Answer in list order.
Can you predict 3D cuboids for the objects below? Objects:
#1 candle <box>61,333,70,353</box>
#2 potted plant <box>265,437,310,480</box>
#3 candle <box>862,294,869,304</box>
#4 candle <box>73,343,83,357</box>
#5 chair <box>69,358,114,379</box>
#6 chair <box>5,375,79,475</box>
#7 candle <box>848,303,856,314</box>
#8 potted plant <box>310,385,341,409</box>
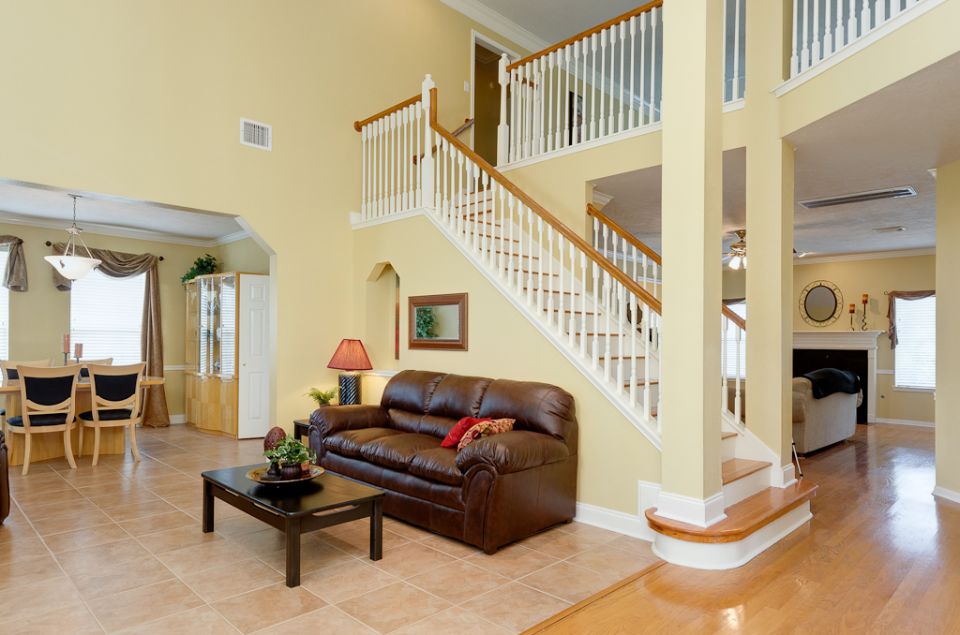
[{"bbox_3d":[-5.418,0.357,8.578,0.059,0.225,0.137,-9,15,-39],"label":"candle"},{"bbox_3d":[-1.746,1.299,6.013,0.356,0.258,0.364,1,-8,2],"label":"potted plant"},{"bbox_3d":[7.154,-0.342,12.121,0.137,0.154,0.138,-1,-3,-4],"label":"candle"},{"bbox_3d":[-5.358,0.454,8.744,0.075,0.202,0.133,-10,15,-41],"label":"candle"},{"bbox_3d":[-5.101,0.689,8.591,0.279,0.332,0.273,7,5,45],"label":"chair"},{"bbox_3d":[-5.299,1.204,7.997,0.781,1.308,0.646,-8,14,-35],"label":"chair"},{"bbox_3d":[6.991,-0.152,12.270,0.148,0.241,0.148,0,3,-27],"label":"candle"},{"bbox_3d":[-2.105,1.075,8.904,0.345,0.226,0.354,-1,-5,22],"label":"potted plant"}]
